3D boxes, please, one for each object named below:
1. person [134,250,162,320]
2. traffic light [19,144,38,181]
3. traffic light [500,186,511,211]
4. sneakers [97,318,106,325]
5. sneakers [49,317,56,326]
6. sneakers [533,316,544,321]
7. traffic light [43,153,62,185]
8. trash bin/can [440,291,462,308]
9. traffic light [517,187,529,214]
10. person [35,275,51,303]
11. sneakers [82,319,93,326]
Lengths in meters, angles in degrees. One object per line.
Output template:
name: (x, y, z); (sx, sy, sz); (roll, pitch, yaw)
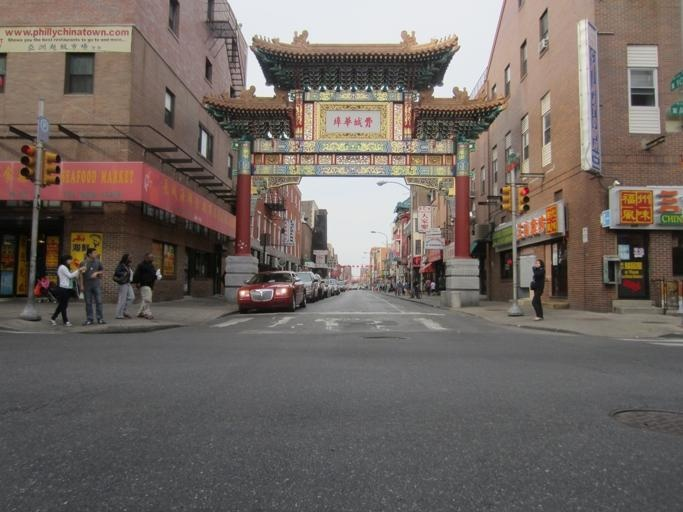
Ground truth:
person: (-5.723, 0.897, 19.176); (0.715, 1.984, 1.546); (-1, 7, -16)
traffic light: (-8.168, -2.436, 17.088); (0.386, 0.938, 0.866); (-2, 7, -26)
traffic light: (5.729, -1.979, 22.546); (0.346, 0.805, 1.196); (2, 7, 16)
sneakers: (-6.269, 1.733, 17.074); (0.279, 0.140, 0.099); (-4, -1, 33)
sneakers: (-7.496, 1.739, 16.956); (0.115, 0.189, 0.405); (1, -8, -26)
sneakers: (6.153, 1.966, 20.320); (0.113, 0.144, 0.325); (-8, -12, 31)
traffic light: (-7.998, -2.408, 17.971); (0.472, 0.929, 1.835); (-2, 8, -25)
trash bin/can: (4.916, 1.920, 28.648); (0.512, 0.862, 2.048); (0, 7, -6)
traffic light: (6.105, -1.871, 21.780); (0.291, 0.923, 1.651); (2, 7, 14)
person: (-11.042, 1.227, 24.153); (0.650, 0.978, 0.325); (2, 1, -4)
sneakers: (-6.596, 1.769, 17.071); (0.138, 0.129, 0.292); (0, -13, -17)
